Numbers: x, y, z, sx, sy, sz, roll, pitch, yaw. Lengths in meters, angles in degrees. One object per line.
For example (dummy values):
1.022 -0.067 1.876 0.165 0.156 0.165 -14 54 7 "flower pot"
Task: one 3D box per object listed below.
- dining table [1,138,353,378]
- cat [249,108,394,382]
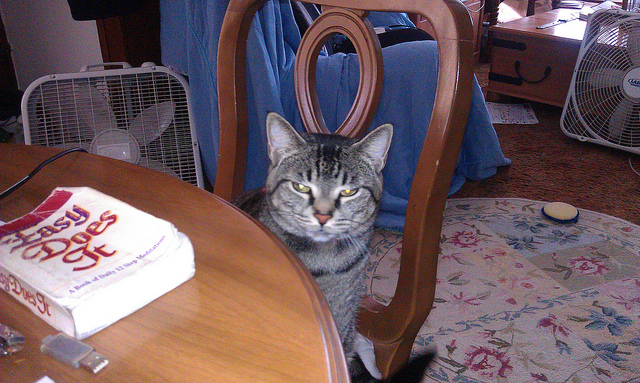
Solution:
-0.367 0.111 1.036 0.726 0.177 0.678 -6 37 -8 "dining table"
-0.024 0.149 1.269 0.402 0.595 0.439 3 38 5 "cat"
